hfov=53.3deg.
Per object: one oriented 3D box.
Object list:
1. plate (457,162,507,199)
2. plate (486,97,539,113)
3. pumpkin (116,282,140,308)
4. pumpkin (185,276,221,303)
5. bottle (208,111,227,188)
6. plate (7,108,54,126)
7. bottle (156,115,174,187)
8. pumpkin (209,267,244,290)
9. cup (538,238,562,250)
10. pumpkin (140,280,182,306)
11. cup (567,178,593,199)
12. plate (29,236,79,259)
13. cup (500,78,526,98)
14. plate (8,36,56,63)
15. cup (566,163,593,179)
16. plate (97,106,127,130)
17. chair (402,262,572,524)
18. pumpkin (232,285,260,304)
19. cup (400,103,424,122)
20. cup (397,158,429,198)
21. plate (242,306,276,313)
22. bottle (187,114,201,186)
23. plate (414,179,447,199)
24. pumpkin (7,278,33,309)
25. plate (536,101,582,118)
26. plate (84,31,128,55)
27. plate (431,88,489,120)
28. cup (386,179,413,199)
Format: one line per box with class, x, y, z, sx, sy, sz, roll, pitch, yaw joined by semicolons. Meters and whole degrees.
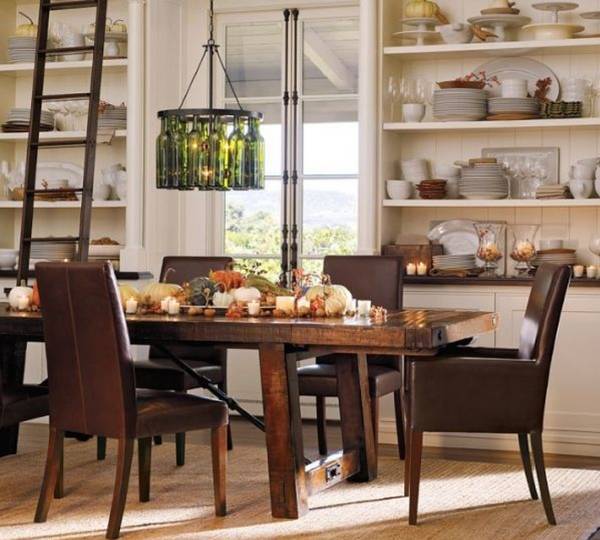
plate;1.180;-0.569;3.931;0.294;0.164;0.268;0;2;-20
plate;1.328;-1.042;3.788;0.178;0.052;0.161;0;3;-8
pumpkin;-0.739;0.105;2.563;0.131;0.108;0.120;-1;-4;4
pumpkin;-0.404;0.080;2.508;0.131;0.110;0.109;-12;5;-19
bottle;-0.317;-0.464;2.322;0.062;0.261;0.104;0;-5;12
plate;-2.079;-1.179;4.605;0.320;0.087;0.293;0;0;-24
bottle;-0.536;-0.473;2.373;0.070;0.288;0.199;2;-5;-14
pumpkin;-0.314;0.035;2.565;0.111;0.088;0.101;0;3;-24
cup;1.604;-0.163;3.853;0.110;0.071;0.100;1;2;0
pumpkin;-0.597;0.096;2.588;0.125;0.102;0.125;1;1;34
cup;1.707;-0.501;3.694;0.148;0.094;0.131;0;-1;14
plate;-1.713;-0.155;4.205;0.385;0.109;0.272;-1;-1;21
cup;1.345;-1.159;3.830;0.157;0.099;0.133;0;-1;-7
plate;-2.077;-1.676;4.648;0.293;0.173;0.265;1;4;-6
cup;1.734;-0.620;3.713;0.158;0.122;0.118;0;-5;6
plate;-1.334;-1.092;4.328;0.204;0.120;0.188;0;2;10
chair;0.684;0.448;2.304;0.570;0.963;0.479;0;-5;8
pumpkin;-0.218;0.096;2.392;0.081;0.049;0.075;-1;2;-35
cup;0.729;-1.044;3.938;0.149;0.090;0.135;-1;4;3
cup;0.771;-0.667;4.225;0.267;0.295;0.242;4;5;32
plate;-0.162;0.145;2.340;0.122;0.046;0.045;1;0;18
bottle;-0.413;-0.466;2.325;0.052;0.268;0.115;2;-5;-11
plate;0.859;-0.530;3.985;0.171;0.080;0.164;-3;5;-43
pumpkin;-1.209;0.110;2.632;0.115;0.134;0.116;1;-3;30
plate;1.619;-0.995;3.739;0.268;0.138;0.145;0;-5;12
plate;-1.368;-1.679;4.453;0.274;0.093;0.247;-1;3;-10
plate;1.012;-1.066;3.842;0.269;0.112;0.254;1;2;19
cup;0.649;-0.531;3.964;0.150;0.092;0.150;1;0;0
